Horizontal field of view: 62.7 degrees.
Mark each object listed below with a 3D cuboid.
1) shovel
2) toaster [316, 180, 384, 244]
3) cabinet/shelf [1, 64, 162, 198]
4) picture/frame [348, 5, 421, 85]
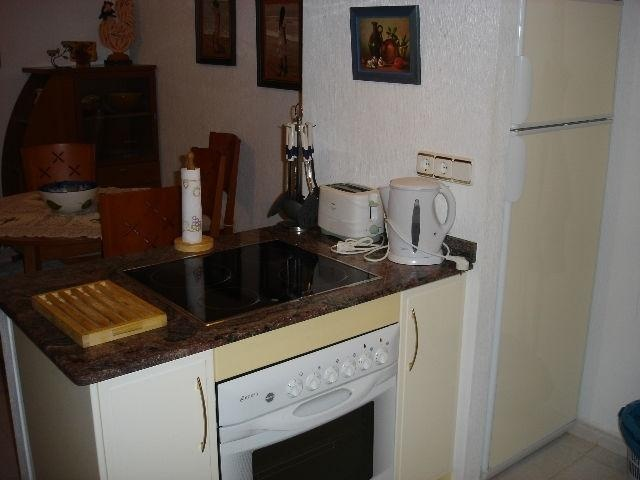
[{"bbox_3d":[-0.119,-0.279,2.335,0.222,0.473,0.104,-2,14,0],"label":"shovel"},{"bbox_3d":[0.127,-0.121,2.271,0.166,0.226,0.298,-14,22,-33],"label":"toaster"},{"bbox_3d":[-2.359,-1.175,5.117,0.742,1.302,1.558,21,29,40],"label":"cabinet/shelf"},{"bbox_3d":[0.260,-0.787,2.127,0.315,0.309,0.063,11,19,40],"label":"picture/frame"}]
